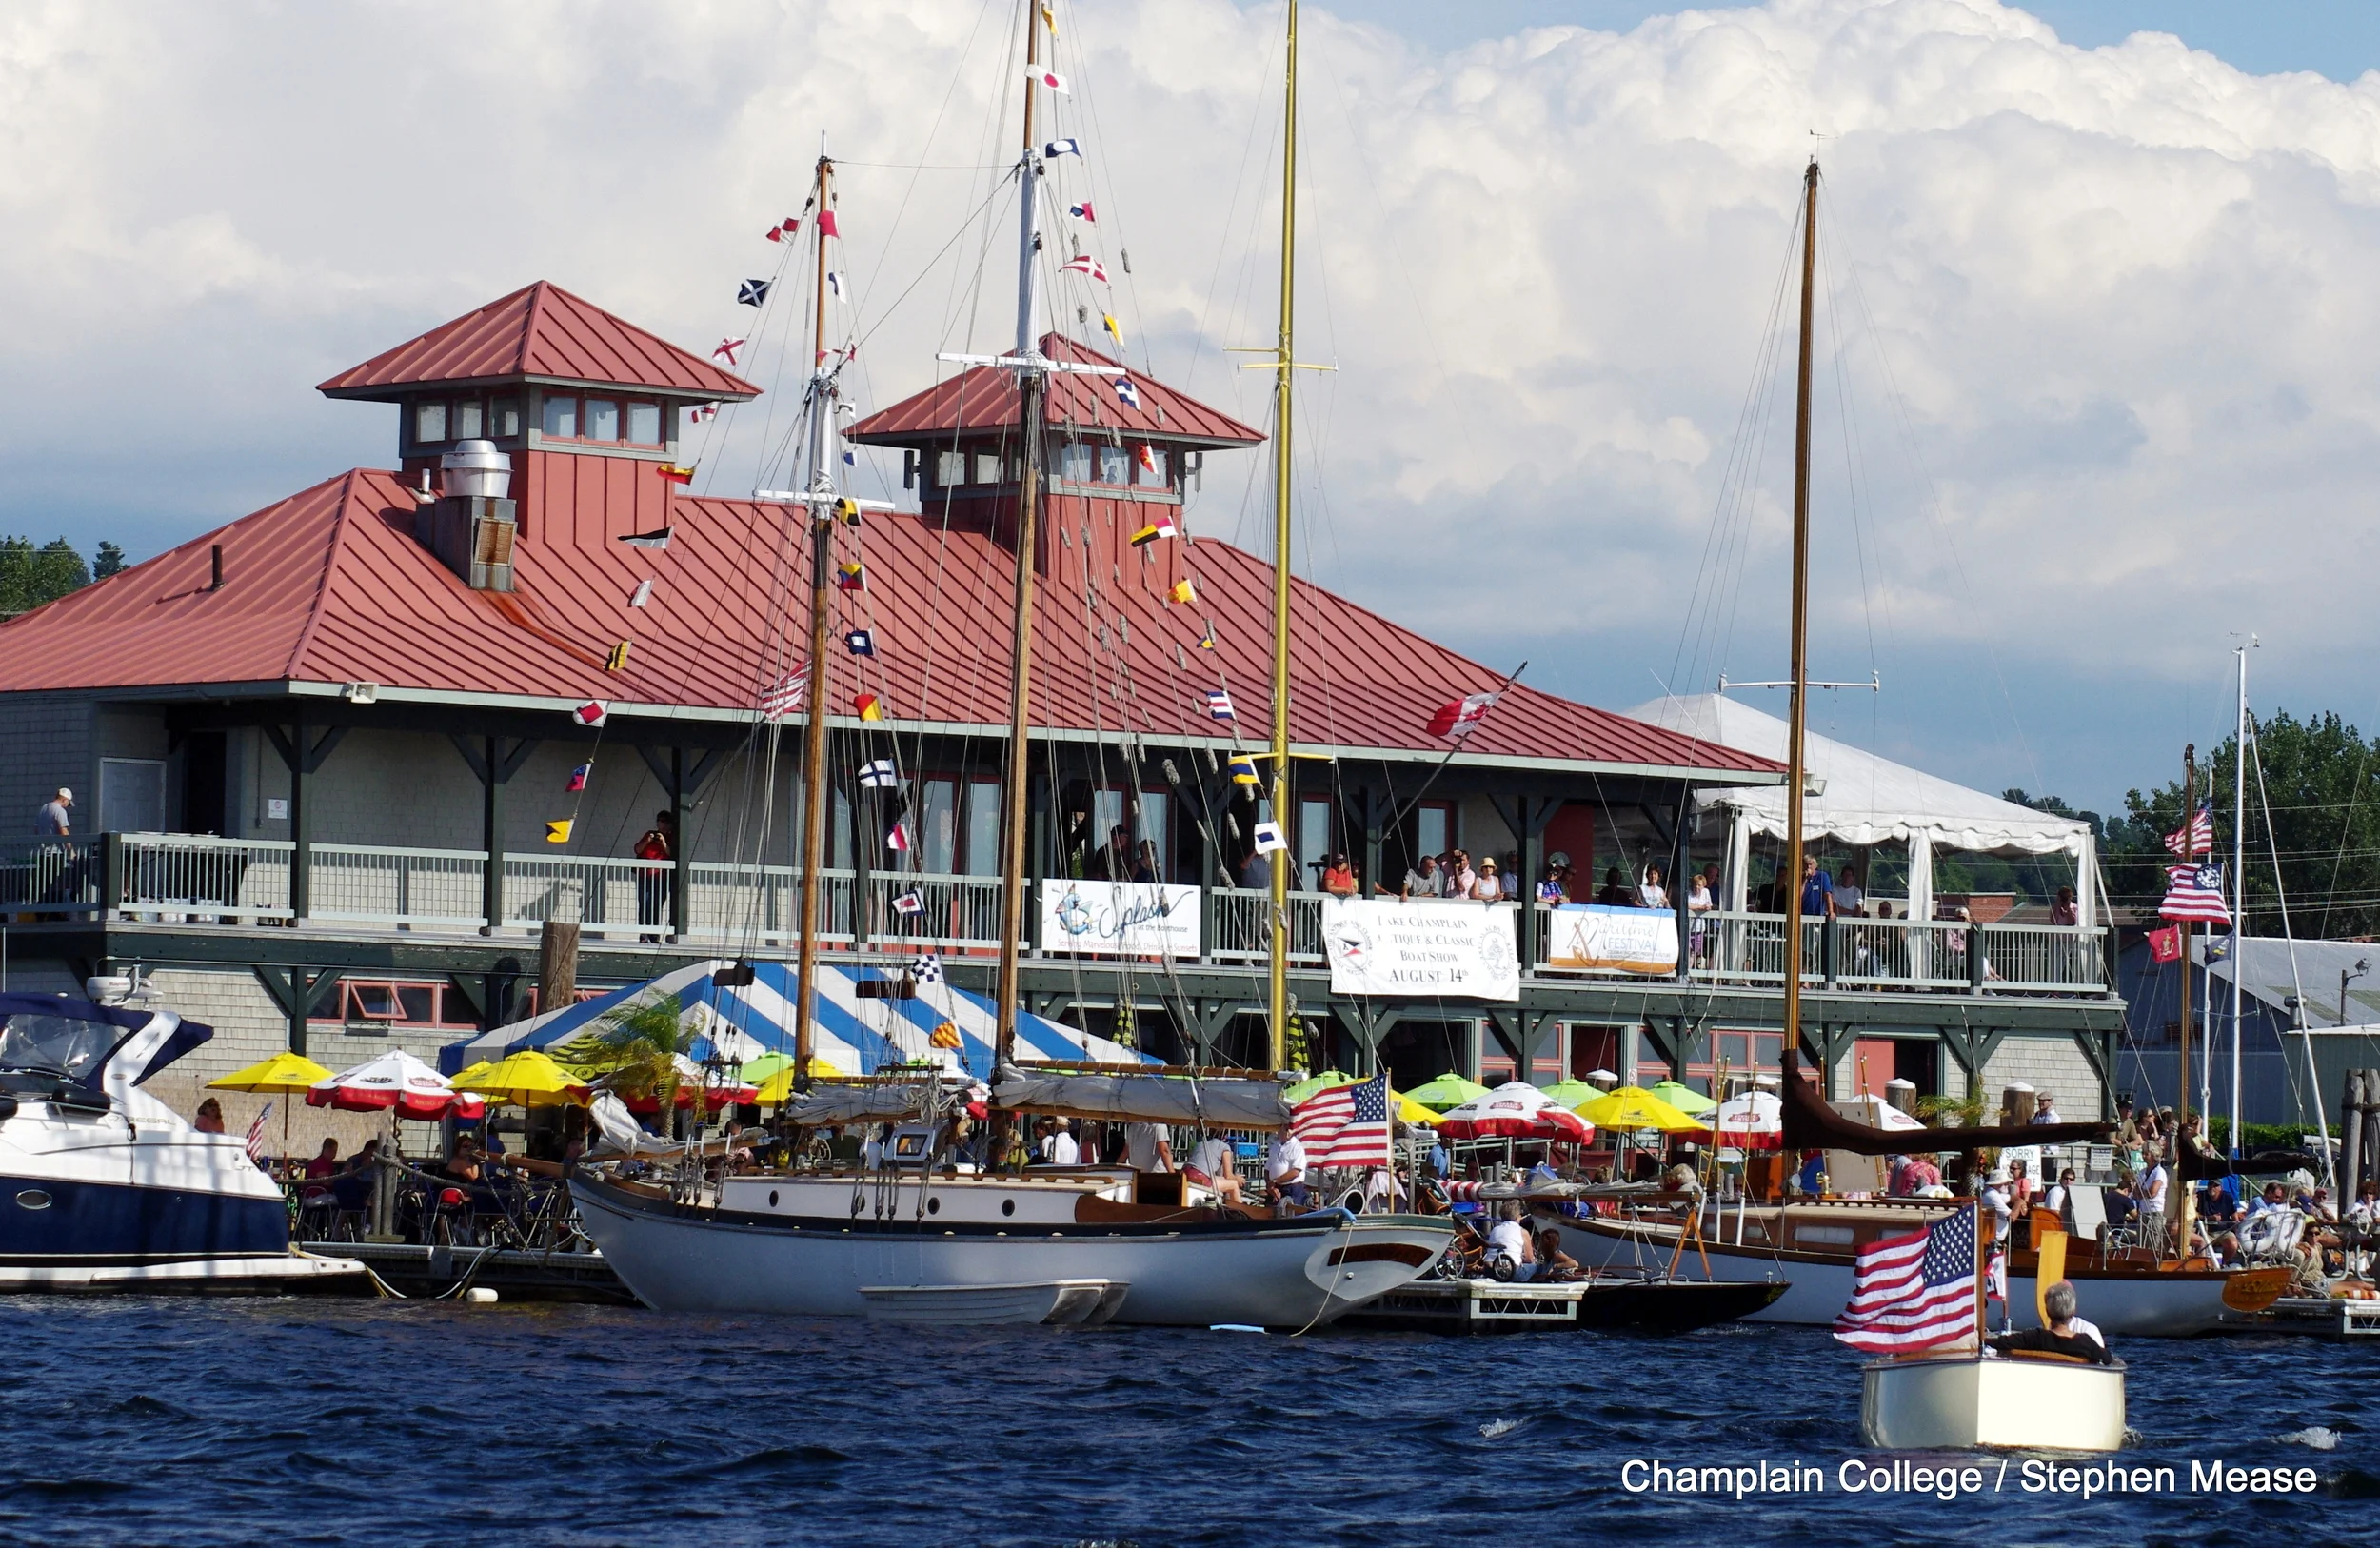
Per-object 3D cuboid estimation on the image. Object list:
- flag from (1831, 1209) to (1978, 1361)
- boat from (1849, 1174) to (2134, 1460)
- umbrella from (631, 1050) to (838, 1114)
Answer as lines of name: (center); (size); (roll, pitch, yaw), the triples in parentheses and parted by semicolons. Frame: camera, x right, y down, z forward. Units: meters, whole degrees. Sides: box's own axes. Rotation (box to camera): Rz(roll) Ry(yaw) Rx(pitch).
flag: (9.900, 7.135, 71.060); (2.543, 2.842, 0.352); (1, 1, 26)
boat: (10.564, 7.534, 70.136); (2.670, 3.843, 4.941); (-3, 0, 15)
umbrella: (-7.241, 4.843, 80.805); (2.952, 1.015, 1.565); (-3, -10, 20)
